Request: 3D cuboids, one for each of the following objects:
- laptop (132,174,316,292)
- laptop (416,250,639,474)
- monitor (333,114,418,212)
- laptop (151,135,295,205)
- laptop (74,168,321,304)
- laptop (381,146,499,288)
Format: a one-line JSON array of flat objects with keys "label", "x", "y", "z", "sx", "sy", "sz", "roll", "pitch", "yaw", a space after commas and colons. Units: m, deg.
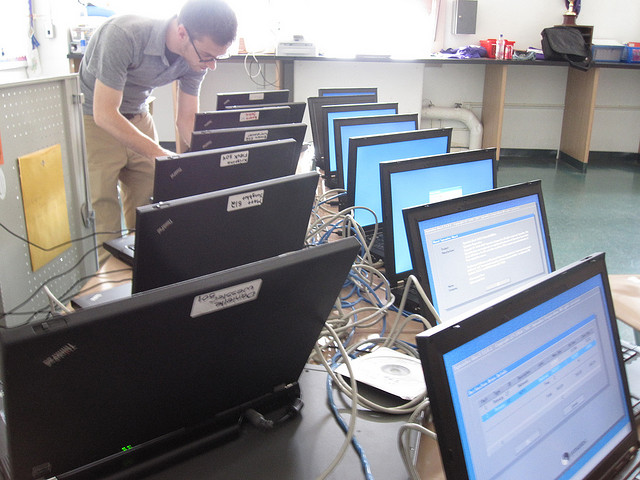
[{"label": "laptop", "x": -0.208, "y": -0.025, "z": 1.042, "sx": 0.352, "sy": 0.240, "sz": 0.249, "roll": -12, "pitch": 46, "yaw": -33}, {"label": "laptop", "x": 0.318, "y": 0.197, "z": 0.767, "sx": 0.269, "sy": 0.263, "sz": 0.215, "roll": -27, "pitch": 13, "yaw": -16}, {"label": "monitor", "x": 0.219, "y": -0.440, "z": 2.267, "sx": 0.490, "sy": 0.470, "sz": 0.378, "roll": -11, "pitch": 24, "yaw": -24}, {"label": "laptop", "x": -0.286, "y": -0.200, "z": 1.477, "sx": 0.261, "sy": 0.264, "sz": 0.390, "roll": -8, "pitch": 4, "yaw": 13}, {"label": "laptop", "x": -0.310, "y": -0.020, "z": 1.218, "sx": 0.325, "sy": 0.348, "sz": 0.510, "roll": 22, "pitch": 27, "yaw": 27}, {"label": "laptop", "x": 0.298, "y": -0.051, "z": 1.220, "sx": 0.308, "sy": 0.223, "sz": 0.217, "roll": -17, "pitch": 29, "yaw": -22}]
